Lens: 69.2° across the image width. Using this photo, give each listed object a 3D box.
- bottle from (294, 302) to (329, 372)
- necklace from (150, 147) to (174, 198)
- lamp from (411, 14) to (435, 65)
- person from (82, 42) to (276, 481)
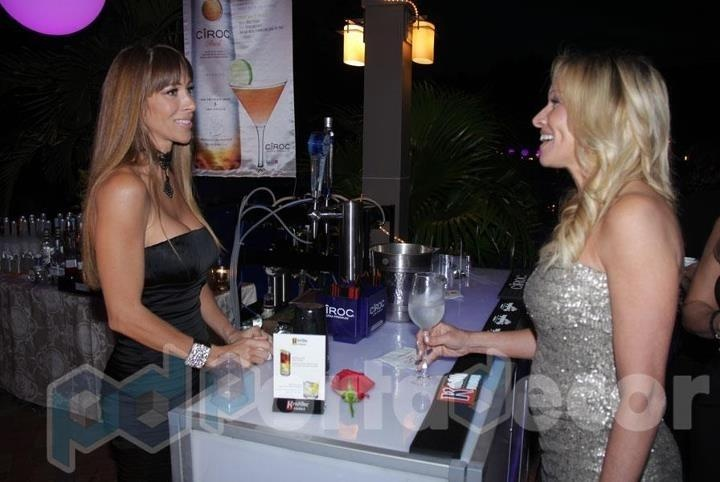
[{"bbox_3d":[-0.171,0.356,1.851,0.122,0.244,0.152,0,8,-13],"label":"bottle"},{"bbox_3d":[-0.812,-0.275,2.155,0.078,0.161,0.027,-3,-10,0],"label":"necklace"},{"bbox_3d":[0.519,-1.635,4.331,0.223,0.267,0.227,6,12,24],"label":"lamp"},{"bbox_3d":[-0.720,-0.069,1.985,0.547,1.364,0.720,-4,10,-35],"label":"person"}]
